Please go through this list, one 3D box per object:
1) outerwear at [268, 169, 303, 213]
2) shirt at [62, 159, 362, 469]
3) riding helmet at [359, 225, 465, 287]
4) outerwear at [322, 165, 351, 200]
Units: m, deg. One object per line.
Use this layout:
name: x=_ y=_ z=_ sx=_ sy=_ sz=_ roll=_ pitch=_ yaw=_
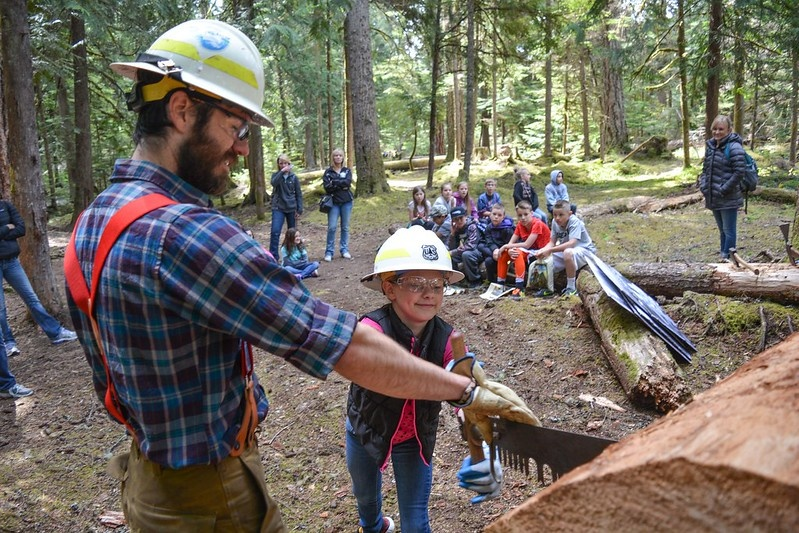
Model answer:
outerwear: x=-2.224 y=-1.478 z=12.936 sx=0.631 sy=0.914 sz=0.553 roll=0 pitch=13 yaw=-17
shirt: x=-1.354 y=0.499 z=4.769 sx=1.677 sy=1.898 sz=0.248 roll=-3 pitch=8 yaw=5
riding helmet: x=0.002 y=-0.051 z=5.932 sx=0.610 sy=0.346 sz=0.645 roll=5 pitch=-15 yaw=-38
outerwear: x=-1.187 y=-1.561 z=12.813 sx=0.565 sy=0.681 sz=0.413 roll=-7 pitch=12 yaw=-8
